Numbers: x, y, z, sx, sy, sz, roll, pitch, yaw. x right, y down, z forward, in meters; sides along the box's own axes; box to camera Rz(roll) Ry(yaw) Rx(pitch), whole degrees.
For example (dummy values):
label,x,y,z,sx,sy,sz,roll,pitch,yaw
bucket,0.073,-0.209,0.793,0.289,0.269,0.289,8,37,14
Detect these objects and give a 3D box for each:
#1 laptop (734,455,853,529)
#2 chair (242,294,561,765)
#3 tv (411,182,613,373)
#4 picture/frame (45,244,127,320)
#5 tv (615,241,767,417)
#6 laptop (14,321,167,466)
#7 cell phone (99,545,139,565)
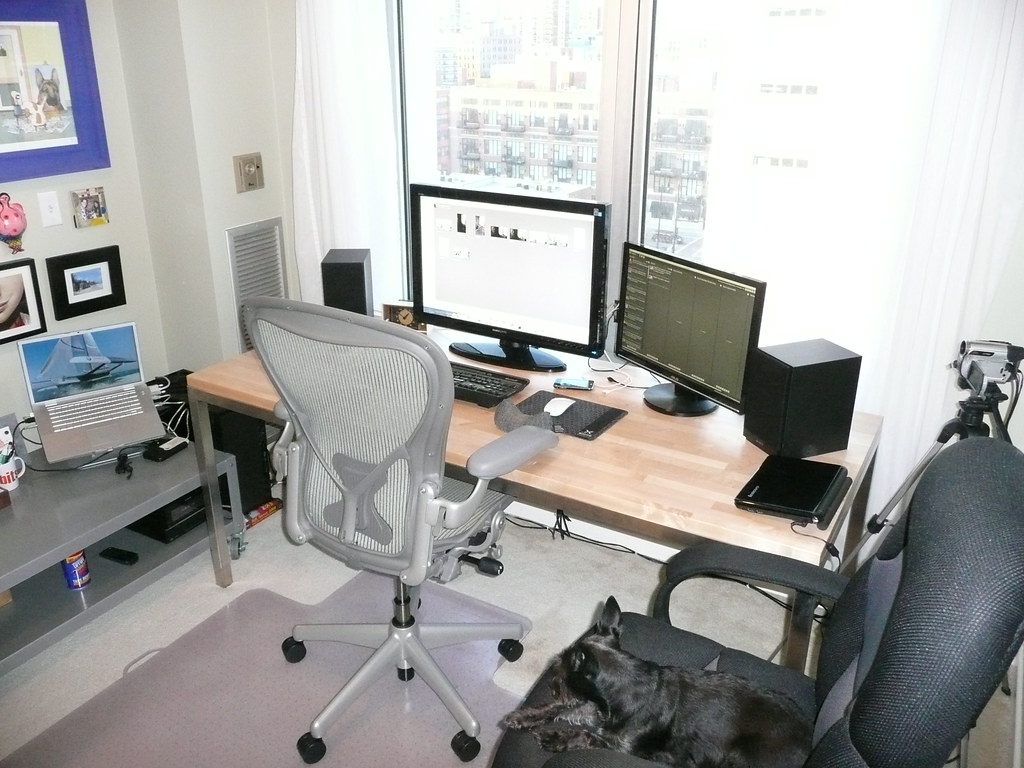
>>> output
label,x,y,z,sx,sy,sz,roll,pitch,yaw
laptop,0.730,0.278,1.962,0.173,0.044,0.212,11,32,28
chair,-0.331,0.466,2.307,0.846,1.303,0.835,16,31,24
tv,-0.006,-0.372,2.621,0.596,0.497,0.167,13,28,24
picture/frame,-1.776,-0.431,3.084,0.019,0.243,0.266,17,32,34
tv,0.563,-0.158,2.382,0.226,0.410,0.431,-22,35,-35
laptop,-1.654,0.045,2.939,0.518,0.356,0.552,-17,44,-31
cell phone,-1.450,0.618,2.748,0.130,0.038,0.063,14,28,17
